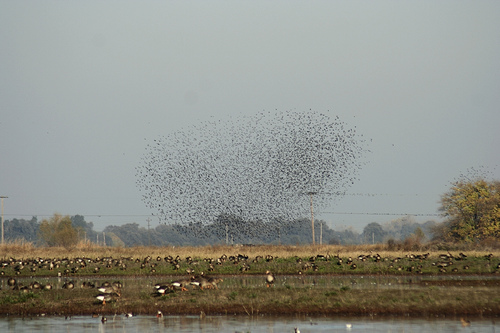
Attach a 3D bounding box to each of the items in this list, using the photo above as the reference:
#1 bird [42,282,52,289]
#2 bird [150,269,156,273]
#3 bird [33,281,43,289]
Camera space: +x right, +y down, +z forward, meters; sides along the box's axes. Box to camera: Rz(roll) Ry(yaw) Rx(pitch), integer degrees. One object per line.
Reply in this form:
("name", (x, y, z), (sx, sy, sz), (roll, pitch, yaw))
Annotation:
("bird", (-24.849, 14.675, 130.578), (1.166, 0.518, 0.803), (-2, -1, 39))
("bird", (-12.965, 13.978, 143.193), (0.583, 0.392, 1.101), (-1, -1, -5))
("bird", (-26.081, 14.529, 130.595), (0.940, 0.756, 0.447), (-1, -1, -13))
